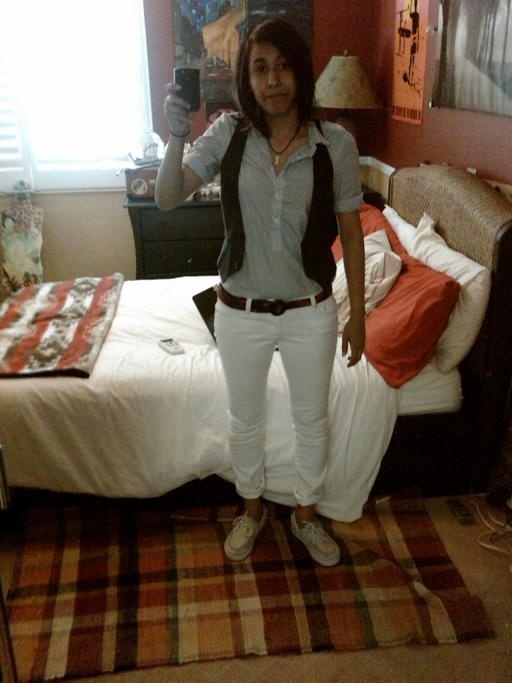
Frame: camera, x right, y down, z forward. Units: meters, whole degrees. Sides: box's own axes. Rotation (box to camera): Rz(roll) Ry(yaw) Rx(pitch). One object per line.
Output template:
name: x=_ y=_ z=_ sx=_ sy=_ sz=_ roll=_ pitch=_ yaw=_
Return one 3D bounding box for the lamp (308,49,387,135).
lamp: x=0.522 y=-1.442 z=3.252 sx=0.423 sy=0.510 sz=0.422 roll=0 pitch=19 yaw=4

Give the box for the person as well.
person: x=0.052 y=-0.115 z=1.401 sx=0.465 sy=1.225 sz=0.230 roll=7 pitch=29 yaw=12

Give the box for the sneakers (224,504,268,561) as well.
sneakers: x=-0.023 y=0.584 z=1.650 sx=0.070 sy=0.077 sz=0.199 roll=13 pitch=37 yaw=17

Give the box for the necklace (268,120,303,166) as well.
necklace: x=0.063 y=-0.450 z=1.243 sx=0.049 sy=0.074 sz=0.104 roll=17 pitch=33 yaw=27

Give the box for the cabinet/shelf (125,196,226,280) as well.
cabinet/shelf: x=-0.498 y=-0.616 z=3.595 sx=0.677 sy=0.668 sz=0.443 roll=-3 pitch=32 yaw=-8
